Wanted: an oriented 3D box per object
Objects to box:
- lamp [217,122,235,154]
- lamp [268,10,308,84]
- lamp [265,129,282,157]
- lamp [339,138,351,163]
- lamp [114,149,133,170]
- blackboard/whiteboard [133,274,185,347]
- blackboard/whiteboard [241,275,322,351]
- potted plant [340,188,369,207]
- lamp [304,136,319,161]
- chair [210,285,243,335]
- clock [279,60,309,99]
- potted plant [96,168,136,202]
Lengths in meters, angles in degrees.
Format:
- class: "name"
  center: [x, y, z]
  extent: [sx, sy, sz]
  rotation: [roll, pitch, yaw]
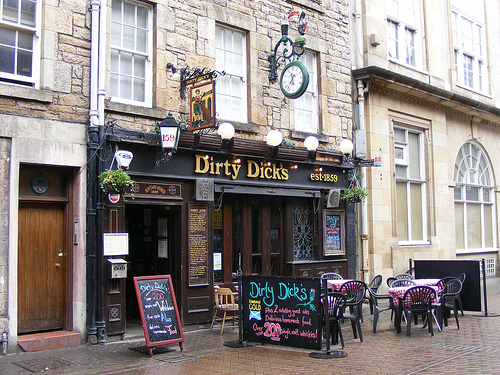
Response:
- class: "lamp"
  center: [-0.584, -1.214, 14.699]
  extent: [0.402, 0.732, 0.482]
  rotation: [0, 7, -4]
- class: "lamp"
  center: [1.114, -3.745, 15.975]
  extent: [0.822, 2.465, 0.857]
  rotation: [-1, 3, -43]
- class: "lamp"
  center: [0.628, -1.115, 15.577]
  extent: [0.404, 0.727, 0.666]
  rotation: [0, 7, 1]
- class: "lamp"
  center: [2.769, -1.029, 16.872]
  extent: [0.341, 0.656, 0.404]
  rotation: [-1, -1, 25]
- class: "lamp"
  center: [-2.788, -0.567, 13.307]
  extent: [0.383, 0.521, 0.362]
  rotation: [3, -8, -26]
- class: "blackboard/whiteboard"
  center: [-1.876, 2.544, 12.381]
  extent: [0.859, 1.410, 0.673]
  rotation: [-5, 8, -40]
- class: "blackboard/whiteboard"
  center: [0.634, 2.537, 12.466]
  extent: [1.864, 1.502, 0.330]
  rotation: [4, 8, 30]
- class: "potted plant"
  center: [2.928, 0.283, 17.235]
  extent: [0.499, 0.361, 0.537]
  rotation: [1, -8, -16]
- class: "lamp"
  center: [1.667, -1.050, 16.345]
  extent: [0.356, 0.701, 0.615]
  rotation: [1, 7, 6]
- class: "chair"
  center: [-0.547, 2.881, 14.424]
  extent: [0.840, 1.404, 0.929]
  rotation: [1, -1, -18]
- class: "clock"
  center: [1.127, -2.751, 15.434]
  extent: [0.782, 0.977, 0.146]
  rotation: [-6, -9, 36]
- class: "potted plant"
  center: [-2.957, -0.059, 13.109]
  extent: [0.609, 0.497, 0.653]
  rotation: [3, -6, -21]
